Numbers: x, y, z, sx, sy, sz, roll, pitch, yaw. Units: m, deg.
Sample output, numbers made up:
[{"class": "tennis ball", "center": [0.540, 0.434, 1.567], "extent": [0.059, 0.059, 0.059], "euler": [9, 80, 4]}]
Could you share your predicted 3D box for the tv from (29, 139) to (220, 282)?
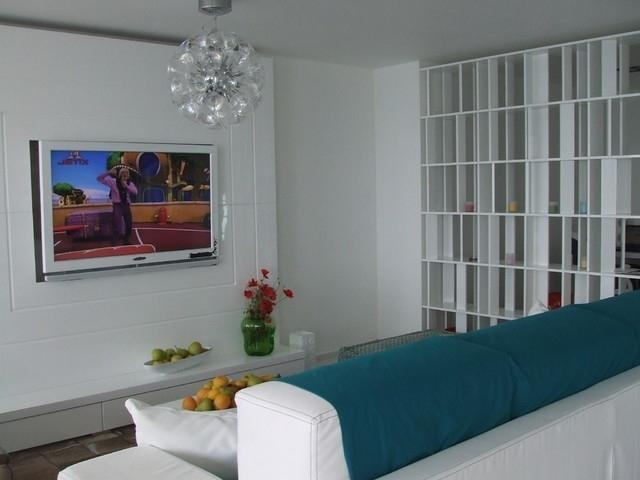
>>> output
[{"class": "tv", "center": [-1.713, -0.260, 4.149], "extent": [1.867, 1.269, 0.080], "euler": [-2, 3, -35]}]

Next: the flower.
[{"class": "flower", "center": [-0.547, 0.718, 4.783], "extent": [0.385, 0.853, 0.350], "euler": [7, 6, 39]}]

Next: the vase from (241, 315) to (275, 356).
[{"class": "vase", "center": [-0.582, 0.918, 4.784], "extent": [0.349, 0.329, 0.333], "euler": [-4, 6, -29]}]
